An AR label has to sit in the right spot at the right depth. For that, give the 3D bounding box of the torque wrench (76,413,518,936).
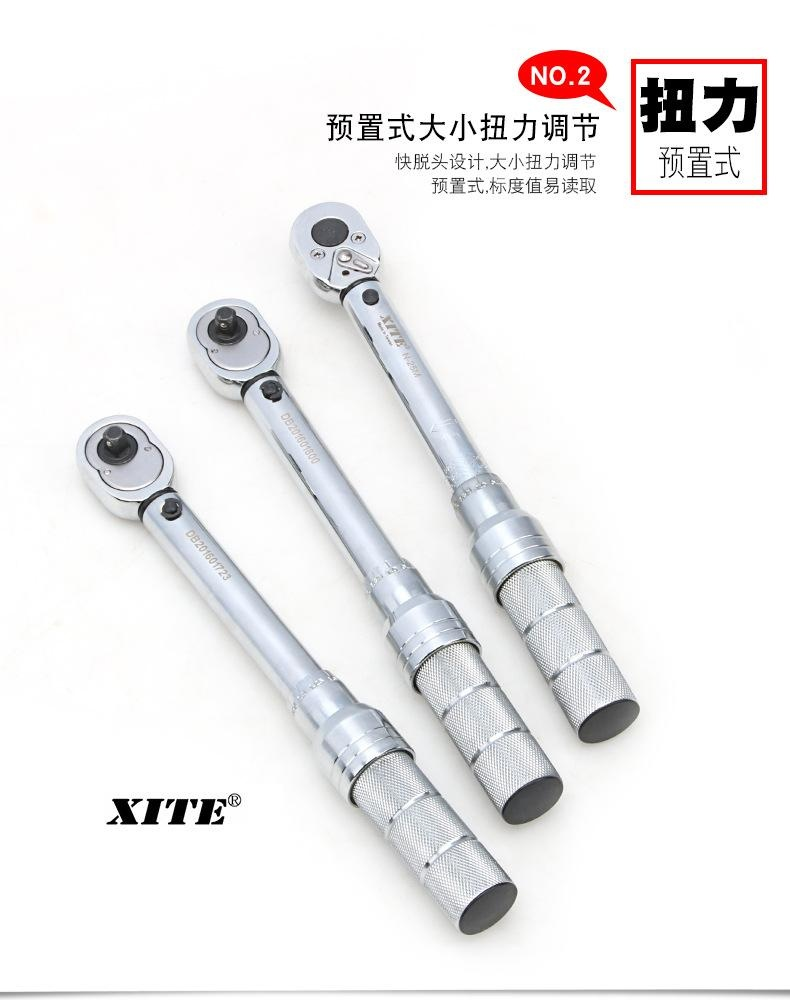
[{"bbox_3d":[-0.123,0.228,1.203,0.112,0.718,0.111,-39,-24,-10],"label":"torque wrench"}]

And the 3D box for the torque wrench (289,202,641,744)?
[{"bbox_3d":[0.087,-0.020,1.360,0.138,0.830,0.148,-32,-18,-5],"label":"torque wrench"}]

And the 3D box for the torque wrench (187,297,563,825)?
[{"bbox_3d":[-0.034,0.096,1.278,0.123,0.784,0.114,-32,-26,-9],"label":"torque wrench"}]
